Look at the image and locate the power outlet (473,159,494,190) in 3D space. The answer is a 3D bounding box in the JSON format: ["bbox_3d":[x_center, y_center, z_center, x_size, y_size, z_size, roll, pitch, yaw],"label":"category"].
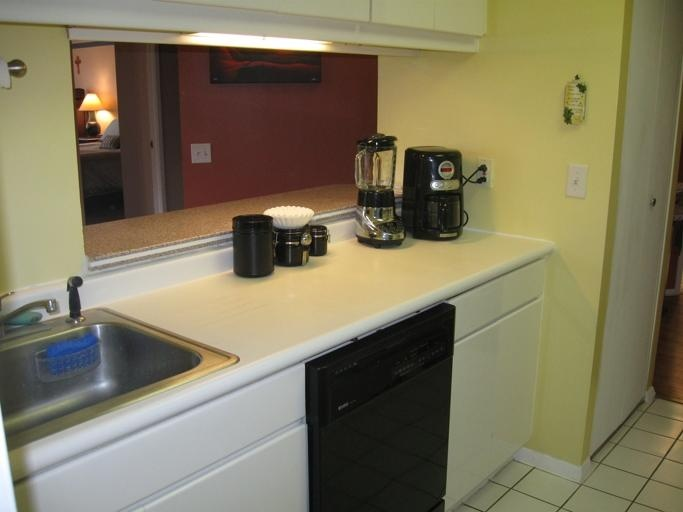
[{"bbox_3d":[0.688,-0.397,2.526,0.113,0.205,0.024,11,19,42],"label":"power outlet"}]

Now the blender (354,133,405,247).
[{"bbox_3d":[0.151,-0.291,2.344,0.265,0.483,0.187,12,21,40],"label":"blender"}]

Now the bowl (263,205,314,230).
[{"bbox_3d":[-0.216,-0.153,2.074,0.166,0.069,0.221,-8,16,-17],"label":"bowl"}]

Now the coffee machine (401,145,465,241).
[{"bbox_3d":[0.435,-0.281,2.451,0.227,0.461,0.229,-1,19,-23],"label":"coffee machine"}]
